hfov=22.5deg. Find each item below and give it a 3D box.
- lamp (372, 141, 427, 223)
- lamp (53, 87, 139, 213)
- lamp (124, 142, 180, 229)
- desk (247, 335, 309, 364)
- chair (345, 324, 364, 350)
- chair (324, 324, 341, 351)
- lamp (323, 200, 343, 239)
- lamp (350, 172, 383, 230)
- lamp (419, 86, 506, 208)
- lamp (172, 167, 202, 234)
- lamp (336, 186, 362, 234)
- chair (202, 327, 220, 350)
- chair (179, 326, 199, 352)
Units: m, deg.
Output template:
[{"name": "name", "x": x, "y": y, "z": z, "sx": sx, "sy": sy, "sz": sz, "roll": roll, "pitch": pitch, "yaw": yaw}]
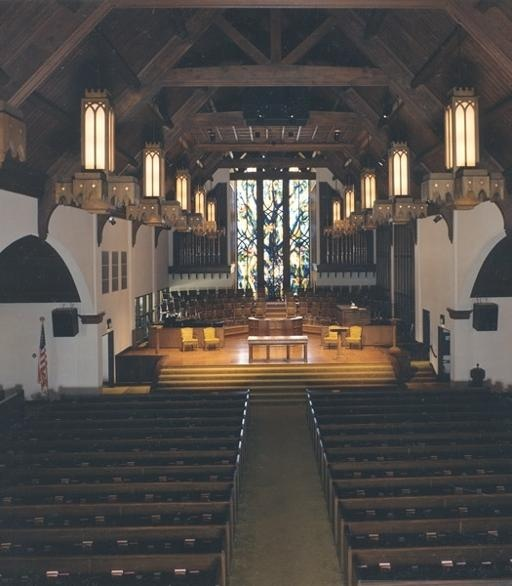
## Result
[{"name": "lamp", "x": 2.161, "y": -1.610, "z": 19.163, "sx": 0.684, "sy": 1.142, "sz": 1.018, "roll": -1, "pitch": -3, "yaw": -1}, {"name": "lamp", "x": -2.123, "y": -1.875, "z": 17.092, "sx": 1.089, "sy": 1.576, "sz": 0.511, "roll": -1, "pitch": -2, "yaw": -9}, {"name": "lamp", "x": -1.382, "y": -1.579, "z": 19.021, "sx": 0.837, "sy": 1.596, "sz": 0.967, "roll": 1, "pitch": 1, "yaw": 5}, {"name": "desk", "x": 0.470, "y": 1.288, "z": 27.492, "sx": 1.254, "sy": 0.593, "sz": 2.919, "roll": -1, "pitch": -3, "yaw": 0}, {"name": "chair", "x": 2.208, "y": 1.058, "z": 28.405, "sx": 0.360, "sy": 0.645, "sz": 0.447, "roll": 0, "pitch": -1, "yaw": 19}, {"name": "chair", "x": 1.712, "y": 1.060, "z": 28.701, "sx": 0.336, "sy": 0.607, "sz": 0.411, "roll": 0, "pitch": -3, "yaw": 11}, {"name": "lamp", "x": 1.811, "y": -1.747, "z": 28.725, "sx": 0.379, "sy": 0.803, "sz": 0.425, "roll": 9, "pitch": 26, "yaw": 23}, {"name": "lamp", "x": 1.920, "y": -1.629, "z": 22.104, "sx": 0.415, "sy": 1.034, "sz": 0.503, "roll": 3, "pitch": 11, "yaw": 2}, {"name": "lamp", "x": 2.762, "y": -1.942, "z": 17.160, "sx": 1.037, "sy": 1.507, "sz": 0.554, "roll": -2, "pitch": -2, "yaw": 12}, {"name": "lamp", "x": -1.313, "y": -1.595, "z": 22.419, "sx": 0.675, "sy": 1.074, "sz": 0.739, "roll": -2, "pitch": 2, "yaw": 32}, {"name": "lamp", "x": 1.902, "y": -1.702, "z": 26.037, "sx": 0.474, "sy": 0.840, "sz": 0.549, "roll": 0, "pitch": -5, "yaw": 5}, {"name": "chair", "x": -1.028, "y": 1.081, "z": 28.679, "sx": 0.378, "sy": 0.675, "sz": 0.440, "roll": 0, "pitch": 0, "yaw": -13}, {"name": "chair", "x": -1.506, "y": 1.123, "z": 28.616, "sx": 0.394, "sy": 0.711, "sz": 0.461, "roll": 0, "pitch": 0, "yaw": -13}]
